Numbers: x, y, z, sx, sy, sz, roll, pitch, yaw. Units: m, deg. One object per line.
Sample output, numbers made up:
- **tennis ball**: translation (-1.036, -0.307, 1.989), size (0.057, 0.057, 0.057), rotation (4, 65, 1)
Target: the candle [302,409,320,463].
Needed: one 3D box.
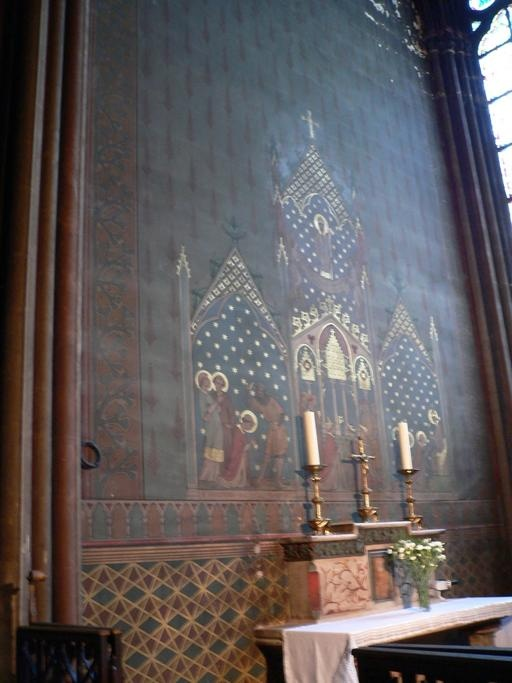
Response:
- **candle**: translation (0.382, 0.798, 6.030), size (0.095, 0.418, 0.238), rotation (-7, -14, 1)

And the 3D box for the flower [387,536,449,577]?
- **flower**: translation (1.101, 1.641, 5.973), size (0.325, 0.231, 0.320), rotation (6, -19, -18)

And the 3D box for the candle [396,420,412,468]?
- **candle**: translation (1.213, 0.981, 6.985), size (0.093, 0.433, 0.336), rotation (-8, -14, 6)
